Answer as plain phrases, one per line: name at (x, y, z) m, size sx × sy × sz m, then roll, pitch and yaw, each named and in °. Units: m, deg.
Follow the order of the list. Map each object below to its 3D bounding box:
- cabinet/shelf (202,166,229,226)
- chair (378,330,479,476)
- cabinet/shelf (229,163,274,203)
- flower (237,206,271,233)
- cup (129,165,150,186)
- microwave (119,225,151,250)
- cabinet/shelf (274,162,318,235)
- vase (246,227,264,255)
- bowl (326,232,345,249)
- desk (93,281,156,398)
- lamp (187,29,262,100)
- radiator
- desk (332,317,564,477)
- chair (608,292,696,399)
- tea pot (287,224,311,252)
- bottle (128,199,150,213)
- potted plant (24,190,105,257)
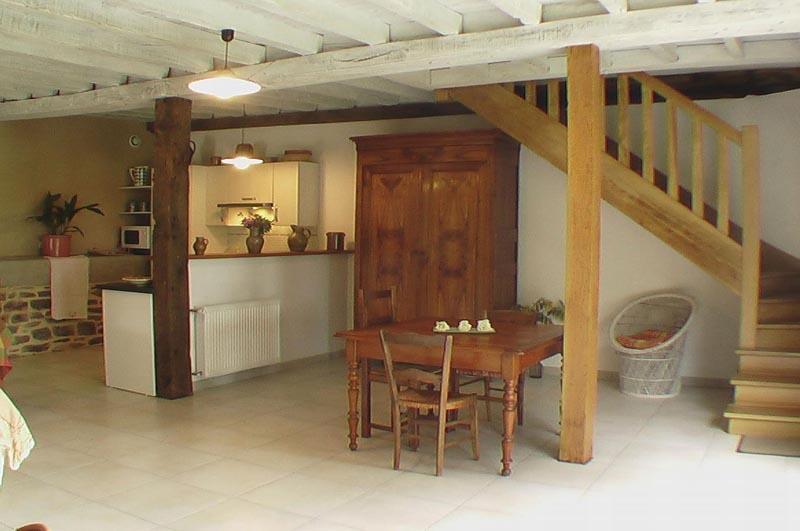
cabinet/shelf at (-2.999, -1.115, 10.362) m, size 0.450 × 1.014 × 0.127 m, roll -1°, pitch -2°, yaw 21°
chair at (0.300, 1.093, 5.850) m, size 0.865 × 1.225 × 1.076 m, roll 1°, pitch 11°, yaw 6°
cabinet/shelf at (-2.162, -1.243, 10.104) m, size 1.008 × 0.590 × 0.522 m, roll 5°, pitch 7°, yaw 32°
flower at (-1.942, -0.597, 8.871) m, size 0.604 × 0.284 × 0.555 m, roll 7°, pitch 4°, yaw 3°
cup at (-4.352, -1.478, 10.680) m, size 0.430 × 0.355 × 0.319 m, roll 0°, pitch 0°, yaw 10°
microwave at (-4.283, -0.461, 10.485) m, size 0.740 × 0.405 × 0.389 m, roll 1°, pitch -1°, yaw 34°
cabinet/shelf at (-1.526, -0.997, 9.612) m, size 0.725 × 1.070 × 0.382 m, roll -2°, pitch 11°, yaw -9°
vase at (-1.922, -0.335, 8.558) m, size 0.199 × 0.332 × 0.379 m, roll -1°, pitch 10°, yaw -7°
bowl at (-0.923, -0.346, 9.284) m, size 0.251 × 0.231 × 0.367 m, roll -1°, pitch 10°, yaw -8°
desk at (-3.115, 0.836, 7.487) m, size 0.904 × 1.228 × 0.298 m, roll 8°, pitch 14°, yaw 37°
lamp at (-1.581, -1.840, 5.866) m, size 0.686 × 0.552 × 0.652 m, roll 9°, pitch 10°, yaw 29°
radiator at (-2.037, 0.864, 7.766) m, size 0.126 × 0.658 × 1.180 m, roll 2°, pitch 1°, yaw 40°
desk at (0.491, 0.886, 5.962) m, size 1.516 × 0.876 × 1.806 m, roll 0°, pitch 2°, yaw 28°
chair at (2.960, 0.918, 7.660) m, size 0.884 × 1.040 × 1.046 m, roll -13°, pitch 13°, yaw -43°
tea pot at (-1.389, -0.370, 9.142) m, size 0.448 × 0.375 × 0.337 m, roll 4°, pitch -5°, yaw -31°
bottle at (-4.372, -0.997, 10.904) m, size 0.277 × 0.122 × 0.375 m, roll 1°, pitch 5°, yaw -4°
potted plant at (-5.427, -0.609, 10.111) m, size 1.199 × 0.866 × 1.006 m, roll 1°, pitch 8°, yaw -27°
